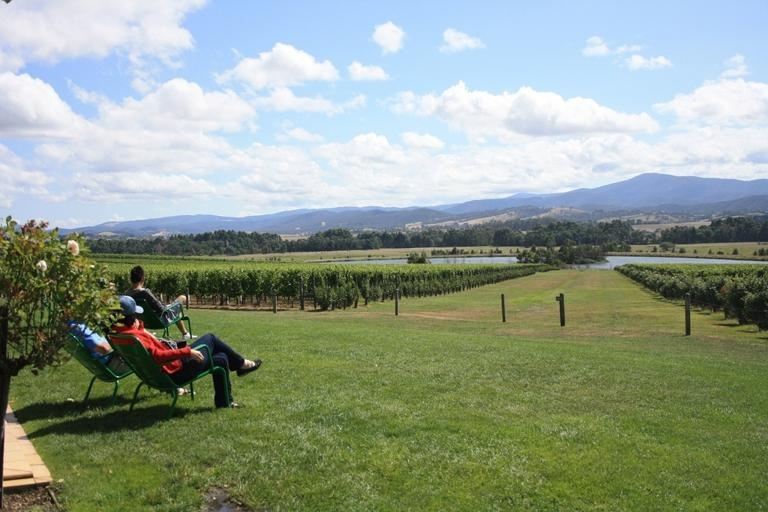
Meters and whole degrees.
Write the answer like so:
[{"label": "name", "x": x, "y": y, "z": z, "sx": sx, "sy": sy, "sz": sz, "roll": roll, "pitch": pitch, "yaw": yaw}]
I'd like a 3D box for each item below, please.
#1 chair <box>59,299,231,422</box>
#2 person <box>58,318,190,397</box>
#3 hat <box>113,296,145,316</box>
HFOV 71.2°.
[{"label": "chair", "x": -4.291, "y": 1.852, "z": 10.175, "sx": 2.676, "sy": 2.268, "sz": 1.335, "roll": -2, "pitch": 2, "yaw": -14}, {"label": "person", "x": -4.993, "y": 1.999, "z": 10.209, "sx": 1.040, "sy": 1.492, "sz": 1.408, "roll": 22, "pitch": 17, "yaw": 3}, {"label": "hat", "x": -4.663, "y": 0.902, "z": 9.750, "sx": 0.369, "sy": 0.299, "sz": 0.573, "roll": 21, "pitch": 9, "yaw": 14}]
